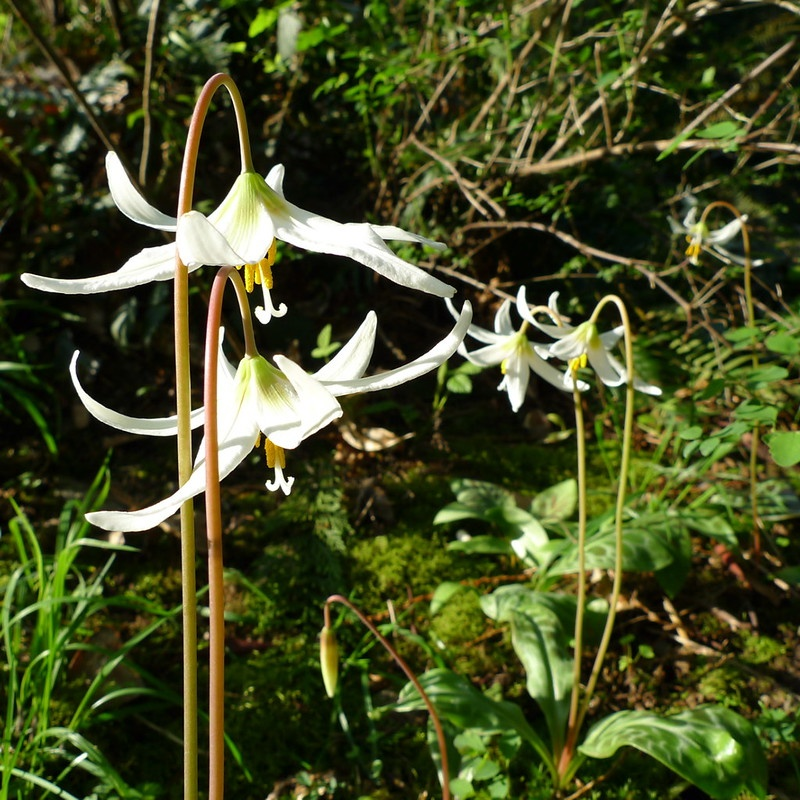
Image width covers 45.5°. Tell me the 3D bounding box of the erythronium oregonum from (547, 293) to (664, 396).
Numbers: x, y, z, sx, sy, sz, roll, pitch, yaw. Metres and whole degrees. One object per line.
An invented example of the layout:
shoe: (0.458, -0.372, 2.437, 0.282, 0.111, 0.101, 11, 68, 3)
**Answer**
erythronium oregonum: (0.581, -0.221, 3.100, 0.455, 0.262, 0.377, 15, 4, 28)

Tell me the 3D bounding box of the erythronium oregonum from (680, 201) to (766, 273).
erythronium oregonum: (1.162, -0.604, 3.560, 0.330, 0.197, 0.325, 15, -3, 12)

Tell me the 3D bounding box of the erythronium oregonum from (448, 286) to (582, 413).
erythronium oregonum: (0.389, -0.210, 3.297, 0.347, 0.430, 0.127, 6, 8, -2)
